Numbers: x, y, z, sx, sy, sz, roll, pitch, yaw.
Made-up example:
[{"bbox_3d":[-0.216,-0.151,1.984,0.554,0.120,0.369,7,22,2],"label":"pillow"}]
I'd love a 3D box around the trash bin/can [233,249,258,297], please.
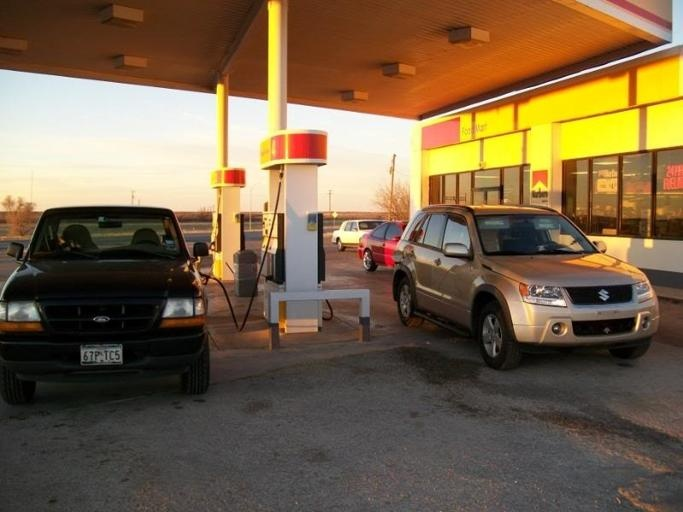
[{"bbox_3d":[-2.409,0.442,12.584,0.543,1.200,0.559,-1,4,-15],"label":"trash bin/can"}]

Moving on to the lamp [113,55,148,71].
[{"bbox_3d":[-6.145,-5.690,14.599,0.920,0.298,0.590,-2,5,-21],"label":"lamp"}]

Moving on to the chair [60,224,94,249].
[{"bbox_3d":[-3.233,-0.245,6.207,0.267,0.377,0.355,-17,8,-17],"label":"chair"}]

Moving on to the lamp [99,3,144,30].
[{"bbox_3d":[-4.951,-5.467,11.271,0.956,0.317,0.639,-1,5,-18],"label":"lamp"}]

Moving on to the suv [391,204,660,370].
[{"bbox_3d":[2.462,0.211,7.916,2.098,1.768,3.868,0,1,-18],"label":"suv"}]

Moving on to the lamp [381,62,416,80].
[{"bbox_3d":[1.754,-5.800,15.468,0.497,0.224,0.510,1,1,32],"label":"lamp"}]

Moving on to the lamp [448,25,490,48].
[{"bbox_3d":[3.224,-5.592,12.599,1.032,0.288,0.519,0,4,4],"label":"lamp"}]
